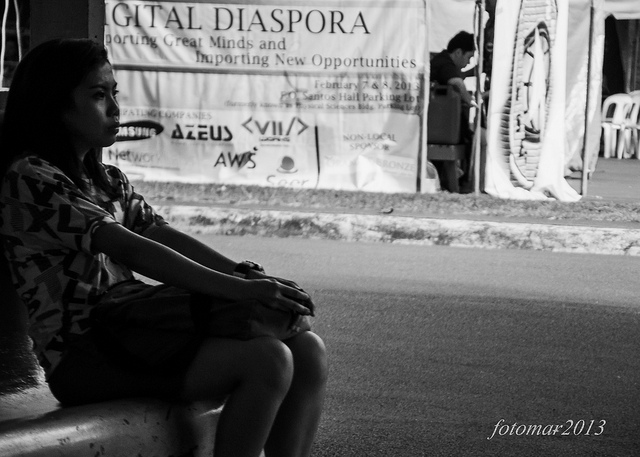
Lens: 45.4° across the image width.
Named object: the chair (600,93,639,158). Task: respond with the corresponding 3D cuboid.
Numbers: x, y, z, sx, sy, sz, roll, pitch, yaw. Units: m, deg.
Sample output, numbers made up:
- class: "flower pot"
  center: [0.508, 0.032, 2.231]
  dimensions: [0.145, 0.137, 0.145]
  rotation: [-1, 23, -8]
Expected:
- class: "chair"
  center: [6.016, -2.058, 15.134]
  dimensions: [0.738, 1.138, 1.220]
  rotation: [6, 15, 18]
